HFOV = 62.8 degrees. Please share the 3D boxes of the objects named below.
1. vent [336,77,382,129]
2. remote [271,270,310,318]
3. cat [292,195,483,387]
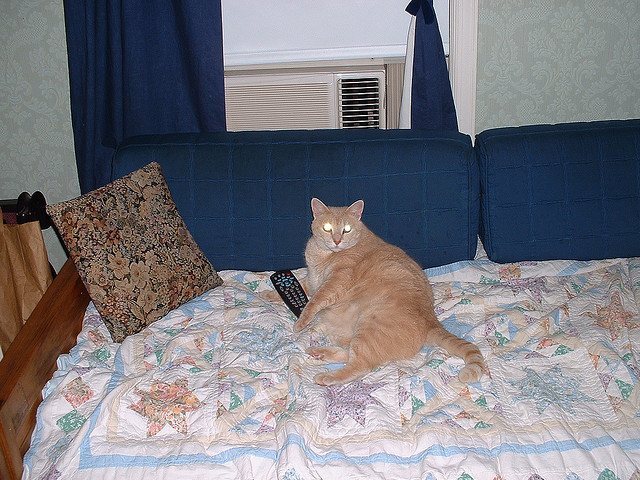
[{"bbox_3d":[0.208,-0.718,2.722,0.227,0.276,0.059,-2,19,1],"label":"vent"},{"bbox_3d":[-0.115,0.208,2.092,0.079,0.033,0.239,-6,42,-27],"label":"remote"},{"bbox_3d":[0.200,0.243,1.991,0.648,0.647,0.603,1,19,-1],"label":"cat"}]
